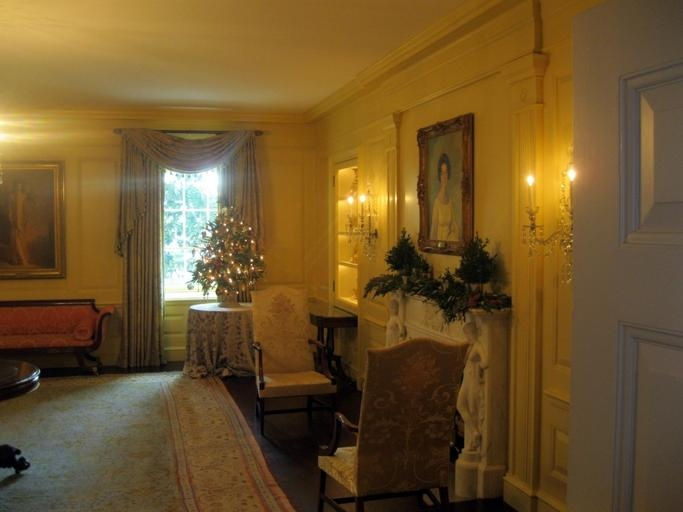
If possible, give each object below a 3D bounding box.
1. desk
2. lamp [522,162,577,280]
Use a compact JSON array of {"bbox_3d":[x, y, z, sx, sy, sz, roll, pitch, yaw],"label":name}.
[{"bbox_3d":[-1.524,1.084,6.971,0.865,0.846,0.323,0,4,-9],"label":"desk"},{"bbox_3d":[1.327,-0.164,3.502,0.187,0.607,0.386,-10,-18,38],"label":"lamp"}]
